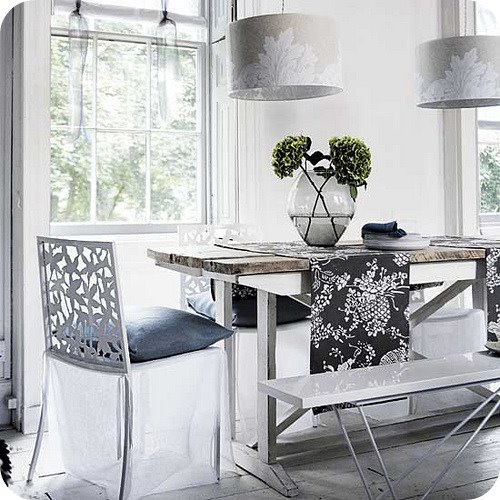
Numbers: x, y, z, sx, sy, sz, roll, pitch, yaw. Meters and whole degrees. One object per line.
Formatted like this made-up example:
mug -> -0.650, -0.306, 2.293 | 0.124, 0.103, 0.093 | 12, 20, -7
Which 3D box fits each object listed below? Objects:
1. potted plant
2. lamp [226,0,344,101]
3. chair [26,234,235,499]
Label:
potted plant -> 0.262, -0.222, 2.342 | 0.517, 0.535, 0.385 | 1, -1, -1
lamp -> 0.144, -0.680, 2.282 | 0.423, 0.482, 0.438 | 0, 0, -11
chair -> -0.541, 0.332, 2.424 | 0.726, 1.297, 0.839 | 4, 6, 45
